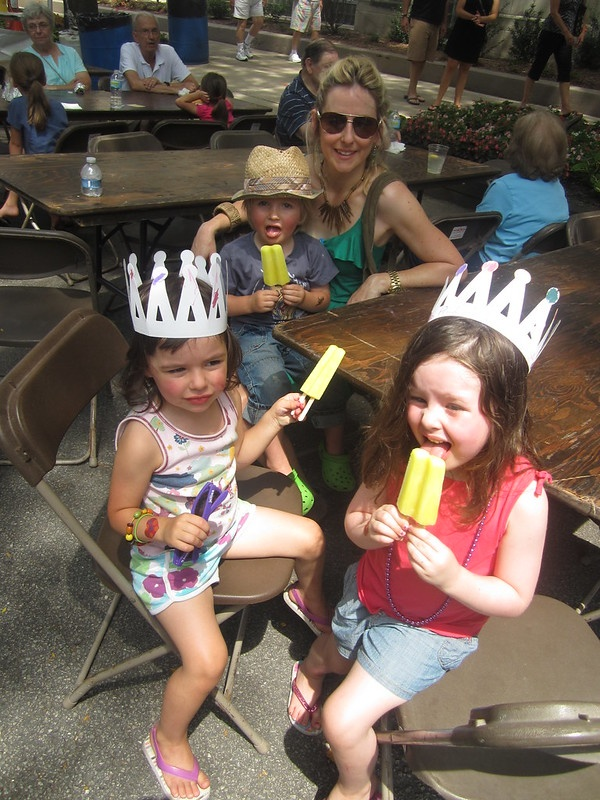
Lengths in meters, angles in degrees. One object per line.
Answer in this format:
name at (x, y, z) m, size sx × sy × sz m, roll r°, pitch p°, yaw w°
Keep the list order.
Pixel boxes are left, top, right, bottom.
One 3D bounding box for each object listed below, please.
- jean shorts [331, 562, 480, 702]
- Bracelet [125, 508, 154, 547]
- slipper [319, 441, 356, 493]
jean shorts at (0.215, 0.583, 1.561) m, size 0.310 × 0.230 × 0.519 m, roll 8°, pitch 24°, yaw 13°
Bracelet at (-0.383, 0.313, 1.535) m, size 0.077 × 0.031 × 0.083 m, roll -5°, pitch 63°, yaw 44°
slipper at (0.181, 0.328, 3.024) m, size 0.139 × 0.101 × 0.230 m, roll -10°, pitch 74°, yaw -9°
